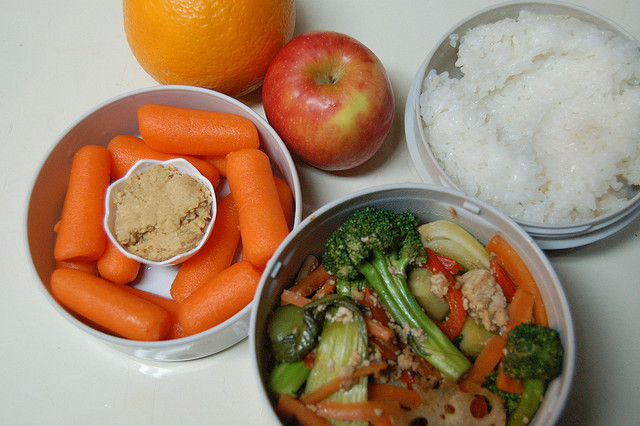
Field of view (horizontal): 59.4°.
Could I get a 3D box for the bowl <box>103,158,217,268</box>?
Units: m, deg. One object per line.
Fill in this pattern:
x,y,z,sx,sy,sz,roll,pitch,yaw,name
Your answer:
-0.574,-0.002,2.000,0.344,0.163,0.414,2,80,-3,bowl

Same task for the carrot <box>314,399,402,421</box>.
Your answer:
0.128,0.657,1.859,0.283,0.070,0.060,-4,55,9,carrot

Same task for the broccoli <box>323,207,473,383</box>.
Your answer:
0.286,0.259,1.968,0.398,0.247,0.674,-35,82,26,broccoli

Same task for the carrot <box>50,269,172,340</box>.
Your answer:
-0.751,0.329,2.059,0.478,0.179,0.184,17,103,6,carrot

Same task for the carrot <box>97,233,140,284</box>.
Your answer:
-0.739,0.193,2.053,0.101,0.067,0.229,-5,88,-14,carrot

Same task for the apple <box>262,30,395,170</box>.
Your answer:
0.043,-0.439,2.235,0.429,0.456,0.494,9,57,6,apple

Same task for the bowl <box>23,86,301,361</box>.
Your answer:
-0.364,-0.186,1.963,0.889,0.369,0.956,10,51,-12,bowl

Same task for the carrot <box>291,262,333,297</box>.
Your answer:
-0.027,0.250,2.010,0.103,0.133,0.105,6,114,17,carrot

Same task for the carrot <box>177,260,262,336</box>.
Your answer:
-0.349,0.293,2.091,0.349,0.126,0.182,-37,100,-1,carrot

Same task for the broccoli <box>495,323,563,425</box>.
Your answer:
0.713,0.527,1.911,0.190,0.134,0.325,8,76,36,broccoli
